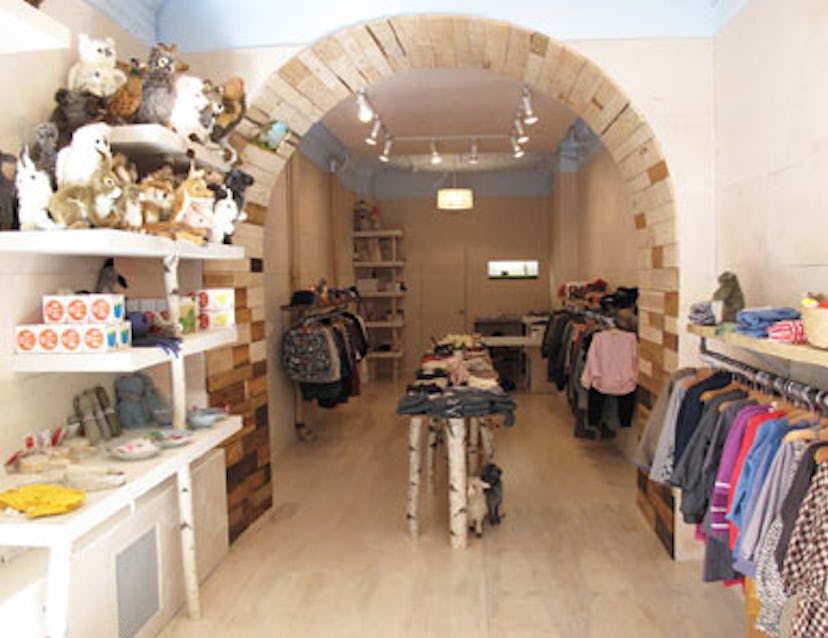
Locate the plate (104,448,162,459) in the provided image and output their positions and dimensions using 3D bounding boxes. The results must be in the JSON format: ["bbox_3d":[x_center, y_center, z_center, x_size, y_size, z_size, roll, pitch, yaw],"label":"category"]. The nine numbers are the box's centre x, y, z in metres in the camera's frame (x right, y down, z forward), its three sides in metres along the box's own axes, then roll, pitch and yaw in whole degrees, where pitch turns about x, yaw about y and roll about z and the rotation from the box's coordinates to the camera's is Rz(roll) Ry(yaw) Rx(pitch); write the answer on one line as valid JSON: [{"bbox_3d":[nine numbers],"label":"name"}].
[{"bbox_3d":[-1.253,0.601,2.520,0.112,0.028,0.088,0,-4,4],"label":"plate"}]

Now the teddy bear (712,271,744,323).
[{"bbox_3d":[1.607,-0.092,2.906,0.154,0.292,0.166,7,8,16],"label":"teddy bear"}]

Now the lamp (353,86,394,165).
[{"bbox_3d":[-0.406,-1.906,5.574,0.178,0.354,0.955,7,-25,17],"label":"lamp"}]

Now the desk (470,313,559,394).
[{"bbox_3d":[1.376,0.627,8.111,0.903,0.843,1.360,1,3,7],"label":"desk"}]

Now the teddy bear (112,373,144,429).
[{"bbox_3d":[-1.499,0.437,2.951,0.101,0.246,0.204,-9,-16,-12],"label":"teddy bear"}]

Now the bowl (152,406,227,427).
[{"bbox_3d":[-1.167,0.507,2.958,0.225,0.056,0.162,-1,-2,23],"label":"bowl"}]
